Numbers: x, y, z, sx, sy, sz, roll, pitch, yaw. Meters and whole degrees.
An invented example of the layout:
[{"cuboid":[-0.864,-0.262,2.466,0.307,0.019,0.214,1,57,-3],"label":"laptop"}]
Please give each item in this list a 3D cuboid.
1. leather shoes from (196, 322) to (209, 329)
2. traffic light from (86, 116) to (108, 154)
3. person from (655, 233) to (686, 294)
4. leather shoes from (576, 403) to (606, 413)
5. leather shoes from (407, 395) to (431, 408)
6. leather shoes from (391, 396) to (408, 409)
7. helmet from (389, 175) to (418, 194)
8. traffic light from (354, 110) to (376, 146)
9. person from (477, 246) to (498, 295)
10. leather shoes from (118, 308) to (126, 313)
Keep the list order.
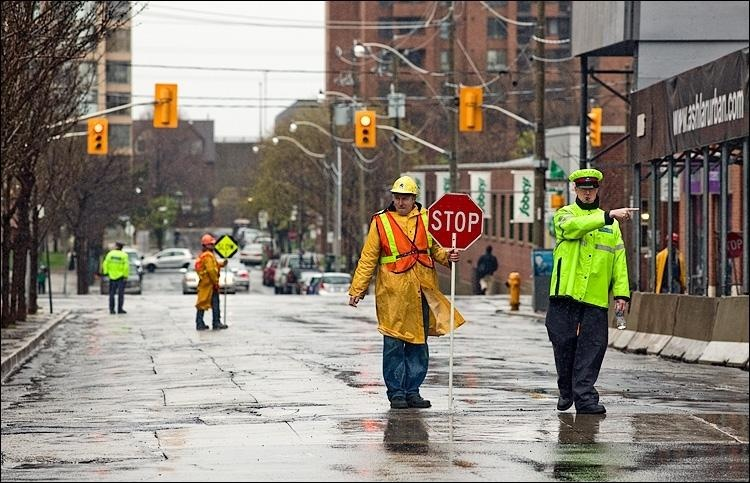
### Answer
[{"cuboid":[-4.676,2.135,46.009,0.354,0.285,0.136,-3,3,-11],"label":"leather shoes"},{"cuboid":[-8.783,-3.414,53.748,0.593,1.127,1.351,1,-1,-6],"label":"traffic light"},{"cuboid":[7.555,0.454,43.764,0.767,1.487,1.973,1,-1,10],"label":"person"},{"cuboid":[4.159,3.085,32.899,0.508,0.232,0.214,-1,-2,5],"label":"leather shoes"},{"cuboid":[0.857,3.029,33.638,0.470,0.207,0.203,1,-3,9],"label":"leather shoes"},{"cuboid":[0.463,3.024,33.461,0.331,0.230,0.181,1,-1,-7],"label":"leather shoes"},{"cuboid":[0.616,-1.219,34.058,0.444,0.371,0.615,3,-4,7],"label":"helmet"},{"cuboid":[-0.328,-3.725,54.993,0.640,1.164,1.699,1,-1,-3],"label":"traffic light"},{"cuboid":[4.406,1.105,68.035,0.772,1.609,1.116,1,-1,-1],"label":"person"},{"cuboid":[-7.783,2.004,52.387,0.211,0.144,0.085,-1,0,-11],"label":"leather shoes"}]
